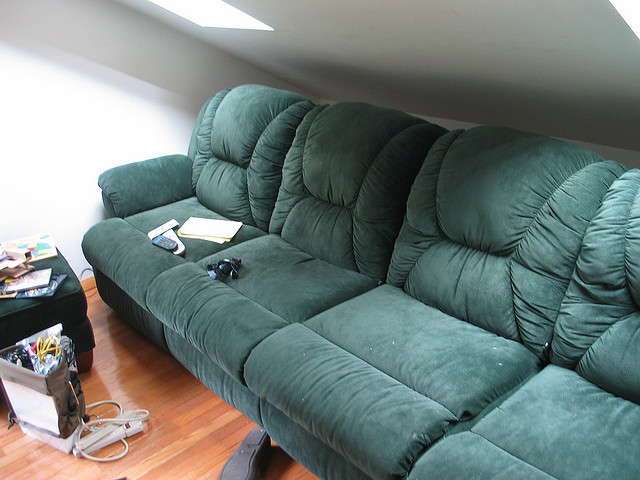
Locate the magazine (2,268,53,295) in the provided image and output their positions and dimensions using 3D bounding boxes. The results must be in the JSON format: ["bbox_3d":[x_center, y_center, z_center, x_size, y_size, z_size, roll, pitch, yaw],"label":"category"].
[{"bbox_3d":[-1.403,0.201,2.375,0.122,0.025,0.137,-14,22,-11],"label":"magazine"}]

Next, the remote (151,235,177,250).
[{"bbox_3d":[-0.796,0.012,2.538,0.128,0.027,0.062,25,40,36],"label":"remote"}]

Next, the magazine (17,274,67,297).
[{"bbox_3d":[-1.334,0.220,2.372,0.158,0.038,0.173,2,23,3],"label":"magazine"}]

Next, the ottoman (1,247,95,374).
[{"bbox_3d":[-1.378,0.386,2.561,0.491,0.462,0.533,21,30,40],"label":"ottoman"}]
